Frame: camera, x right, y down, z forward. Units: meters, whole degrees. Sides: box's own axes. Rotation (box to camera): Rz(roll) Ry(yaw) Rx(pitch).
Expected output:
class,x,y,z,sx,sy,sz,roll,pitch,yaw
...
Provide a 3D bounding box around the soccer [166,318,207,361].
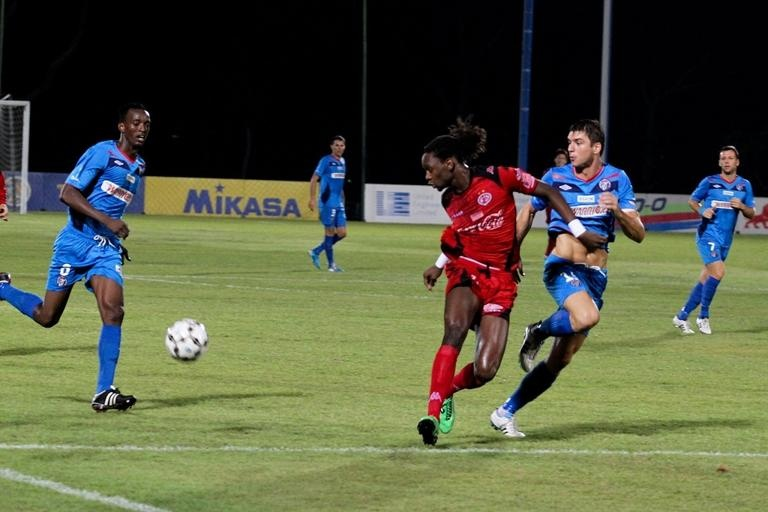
class,x,y,z,sx,sy,sz,roll,pitch,yaw
soccer,-1.800,0.773,8.877,0.454,0.362,0.392,-7,2,-19

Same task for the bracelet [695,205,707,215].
class,x,y,z,sx,sy,sz,roll,pitch,yaw
bracelet,4.378,-0.611,12.937,0.159,0.095,0.140,-7,22,-7

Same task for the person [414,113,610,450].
class,x,y,z,sx,sy,sz,roll,pitch,yaw
person,0.716,0.201,7.594,1.390,2.537,0.892,2,4,-35

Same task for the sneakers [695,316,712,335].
class,x,y,z,sx,sy,sz,roll,pitch,yaw
sneakers,4.260,0.917,12.571,0.124,0.123,0.304,-8,12,-3

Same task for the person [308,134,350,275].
class,x,y,z,sx,sy,sz,roll,pitch,yaw
person,-1.058,-1.042,18.716,0.721,2.609,1.363,4,3,-5

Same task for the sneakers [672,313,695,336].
class,x,y,z,sx,sy,sz,roll,pitch,yaw
sneakers,3.938,0.908,12.547,0.391,0.161,0.145,30,16,25

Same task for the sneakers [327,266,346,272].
class,x,y,z,sx,sy,sz,roll,pitch,yaw
sneakers,-0.893,0.260,18.314,0.292,0.106,0.115,0,6,9

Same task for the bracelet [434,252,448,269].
class,x,y,z,sx,sy,sz,roll,pitch,yaw
bracelet,0.516,0.028,7.825,0.055,0.177,0.053,44,-11,-17

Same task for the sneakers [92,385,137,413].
class,x,y,z,sx,sy,sz,roll,pitch,yaw
sneakers,-2.236,1.200,7.888,0.446,0.194,0.156,-1,4,0

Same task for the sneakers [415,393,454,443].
class,x,y,z,sx,sy,sz,roll,pitch,yaw
sneakers,0.427,1.269,7.212,0.182,0.205,0.506,17,-3,10
